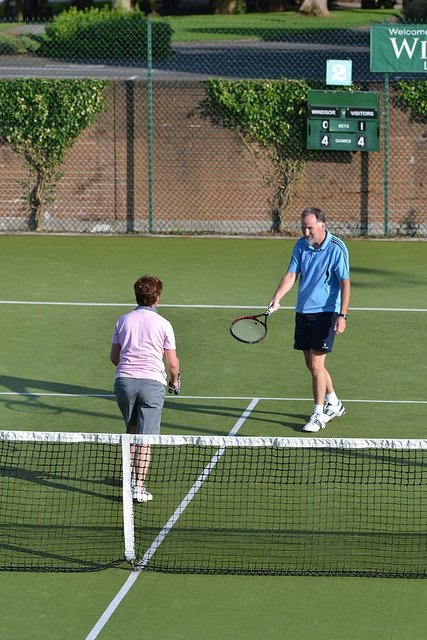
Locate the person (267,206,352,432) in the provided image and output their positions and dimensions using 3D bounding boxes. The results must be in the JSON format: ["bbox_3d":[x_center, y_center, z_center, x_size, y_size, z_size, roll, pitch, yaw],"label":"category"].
[{"bbox_3d":[0.721,-0.007,9.452,0.573,1.719,0.648,1,12,2],"label":"person"}]

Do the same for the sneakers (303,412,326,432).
[{"bbox_3d":[0.771,0.790,9.475,0.078,0.118,0.249,-3,-4,26],"label":"sneakers"}]

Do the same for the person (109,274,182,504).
[{"bbox_3d":[-0.428,0.251,8.077,0.455,1.052,0.509,-4,13,-18],"label":"person"}]
